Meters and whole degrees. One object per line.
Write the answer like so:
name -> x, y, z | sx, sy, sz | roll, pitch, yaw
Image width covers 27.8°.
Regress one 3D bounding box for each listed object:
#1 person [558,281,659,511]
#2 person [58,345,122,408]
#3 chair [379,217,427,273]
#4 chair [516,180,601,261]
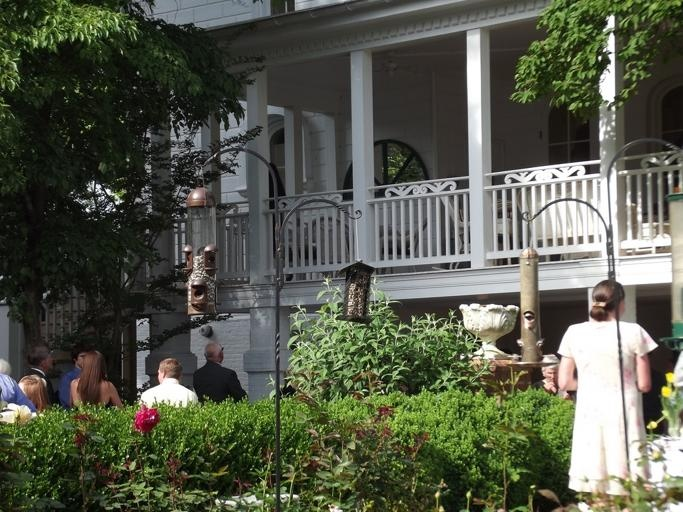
person -> 2.521, 1.327, 13.164 | 0.896, 2.322, 0.873 | 1, 20, 20
person -> -2.520, 1.218, 13.929 | 0.539, 0.597, 2.989 | -1, -5, -12
chair -> 0.796, -0.175, 18.244 | 0.720, 0.839, 0.678 | 1, -2, -2
chair -> 2.615, -0.361, 16.692 | 1.170, 0.822, 1.177 | 5, -2, 28
